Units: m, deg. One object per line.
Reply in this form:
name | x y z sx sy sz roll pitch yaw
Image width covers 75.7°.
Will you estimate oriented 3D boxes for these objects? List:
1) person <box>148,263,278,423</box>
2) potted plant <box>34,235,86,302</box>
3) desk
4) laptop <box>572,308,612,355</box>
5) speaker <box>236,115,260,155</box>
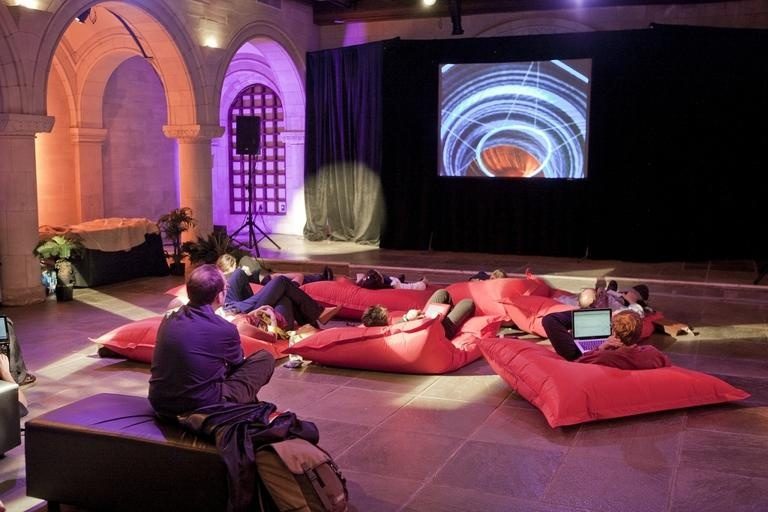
person | -1.054 0.558 2.872 0.707 0.934 0.739 9 7 37
potted plant | -4.559 0.142 6.914 0.536 0.835 0.748 -5 13 -19
desk | -4.329 -0.106 7.816 1.326 0.586 1.312 2 7 18
laptop | 1.780 0.612 4.387 0.425 0.354 0.302 1 17 1
speaker | -2.584 -2.301 9.394 0.442 0.731 0.267 -2 13 -6
